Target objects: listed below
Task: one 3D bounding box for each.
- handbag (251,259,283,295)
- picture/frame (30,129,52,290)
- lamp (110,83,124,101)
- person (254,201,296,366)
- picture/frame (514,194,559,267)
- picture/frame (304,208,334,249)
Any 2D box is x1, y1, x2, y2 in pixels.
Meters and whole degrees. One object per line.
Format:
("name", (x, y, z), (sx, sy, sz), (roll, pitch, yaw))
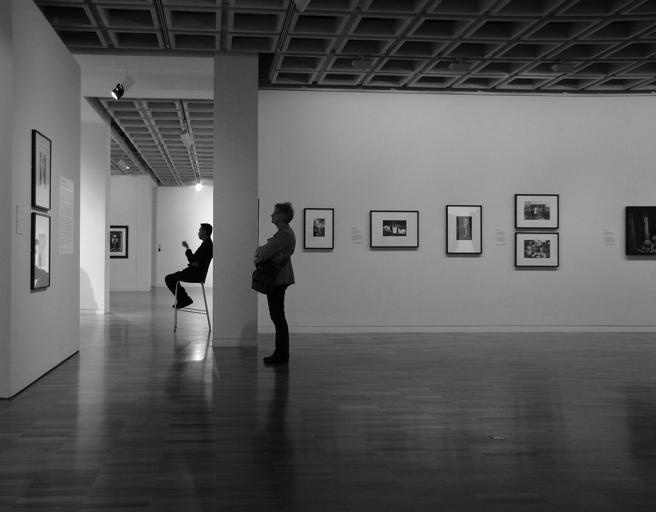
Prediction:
("handbag", (-0.734, 0.250, 7.088), (0.339, 0.402, 0.152), (1, 1, 27))
("picture/frame", (-2.994, -0.468, 6.160), (0.106, 1.652, 0.693), (0, 1, -18))
("lamp", (-3.152, -2.528, 8.894), (0.177, 0.205, 0.236), (0, 2, -24))
("person", (-0.654, 0.323, 7.134), (0.506, 1.960, 0.410), (0, 1, -8))
("picture/frame", (3.599, -0.424, 10.094), (0.797, 1.256, 0.145), (0, 1, -9))
("picture/frame", (-0.163, -0.444, 9.713), (0.594, 0.897, 0.038), (0, -4, -7))
